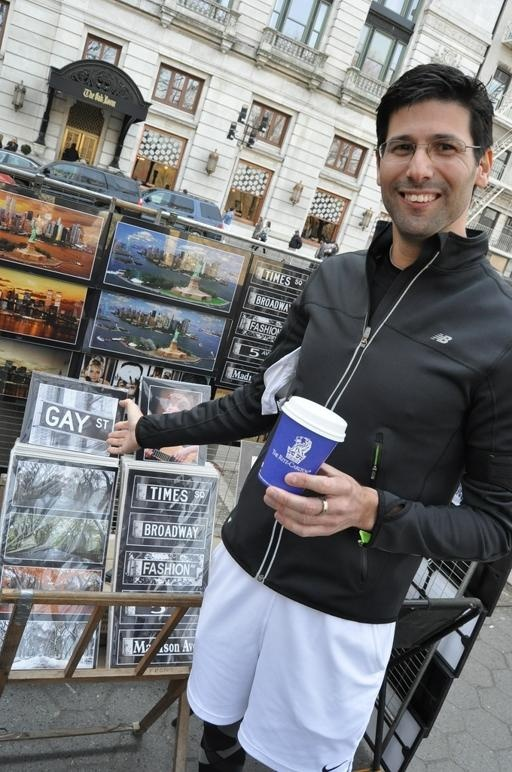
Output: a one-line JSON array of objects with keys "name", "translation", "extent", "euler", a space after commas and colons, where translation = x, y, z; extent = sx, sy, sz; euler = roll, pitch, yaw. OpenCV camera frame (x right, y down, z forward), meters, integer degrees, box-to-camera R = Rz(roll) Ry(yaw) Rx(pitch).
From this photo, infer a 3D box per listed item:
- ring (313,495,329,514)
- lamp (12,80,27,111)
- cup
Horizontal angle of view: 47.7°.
[{"name": "ring", "translation": [0.145, 0.251, 1.251], "extent": [0.034, 0.032, 0.023], "euler": [25, 26, 37]}, {"name": "lamp", "translation": [-6.851, -8.364, 16.760], "extent": [0.318, 0.830, 0.497], "euler": [16, 16, -17]}, {"name": "cup", "translation": [0.071, 0.145, 1.316], "extent": [0.169, 0.169, 0.165], "euler": [20, -14, 5]}]
